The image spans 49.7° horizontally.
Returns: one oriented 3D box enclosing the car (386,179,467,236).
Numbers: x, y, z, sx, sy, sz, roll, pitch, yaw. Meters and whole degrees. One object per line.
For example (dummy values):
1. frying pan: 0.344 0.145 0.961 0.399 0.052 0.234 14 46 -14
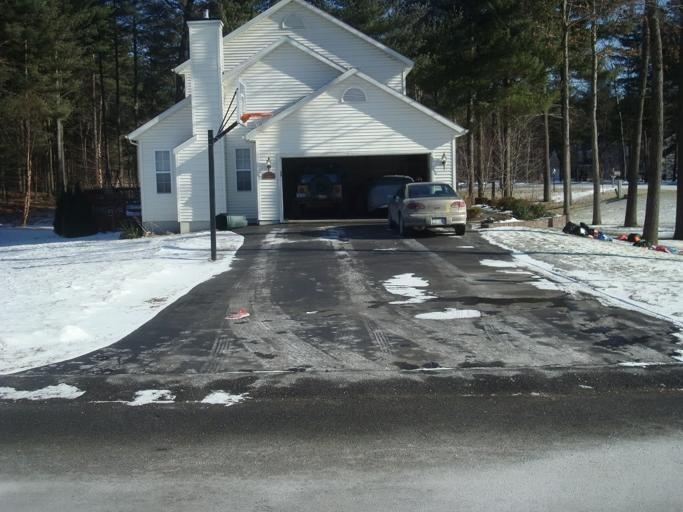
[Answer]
1. car: 2.365 -1.475 21.329 1.245 0.829 2.608 -2 10 -5
